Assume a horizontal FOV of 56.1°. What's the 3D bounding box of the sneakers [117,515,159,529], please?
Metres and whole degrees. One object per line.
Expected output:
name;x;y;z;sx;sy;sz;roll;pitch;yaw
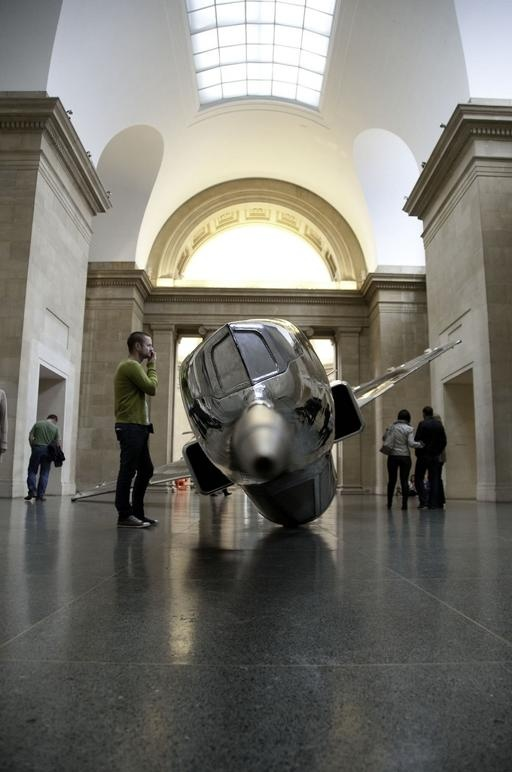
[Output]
sneakers;-1.298;1.454;5.032;0.238;0.096;0.263;-4;-9;5

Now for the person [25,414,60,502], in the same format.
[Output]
person;-5.176;1.753;11.414;0.716;1.857;0.873;3;-11;-12
